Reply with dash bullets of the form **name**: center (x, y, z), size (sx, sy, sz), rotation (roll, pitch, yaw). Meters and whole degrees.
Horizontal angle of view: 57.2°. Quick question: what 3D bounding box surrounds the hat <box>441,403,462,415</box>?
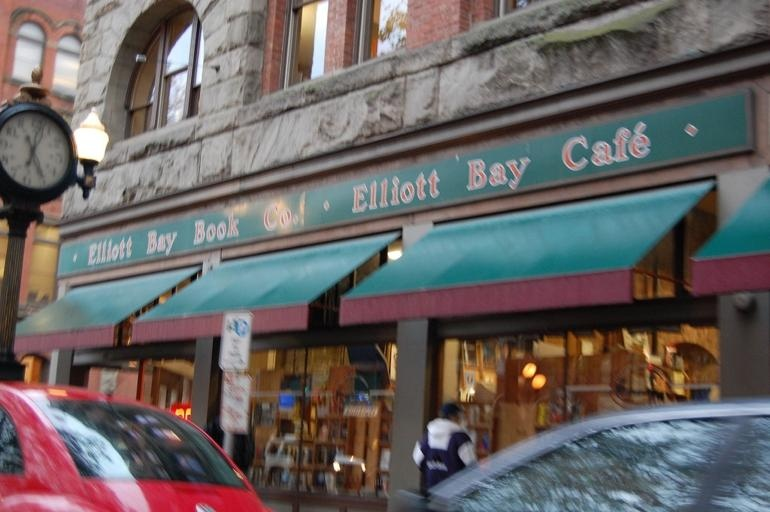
- **hat**: center (0.880, 2.019, 9.329), size (0.244, 0.098, 0.263), rotation (-5, 3, -13)

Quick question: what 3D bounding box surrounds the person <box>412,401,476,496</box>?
- **person**: center (0.747, 2.649, 9.183), size (0.828, 1.544, 0.549), rotation (6, 16, 11)
